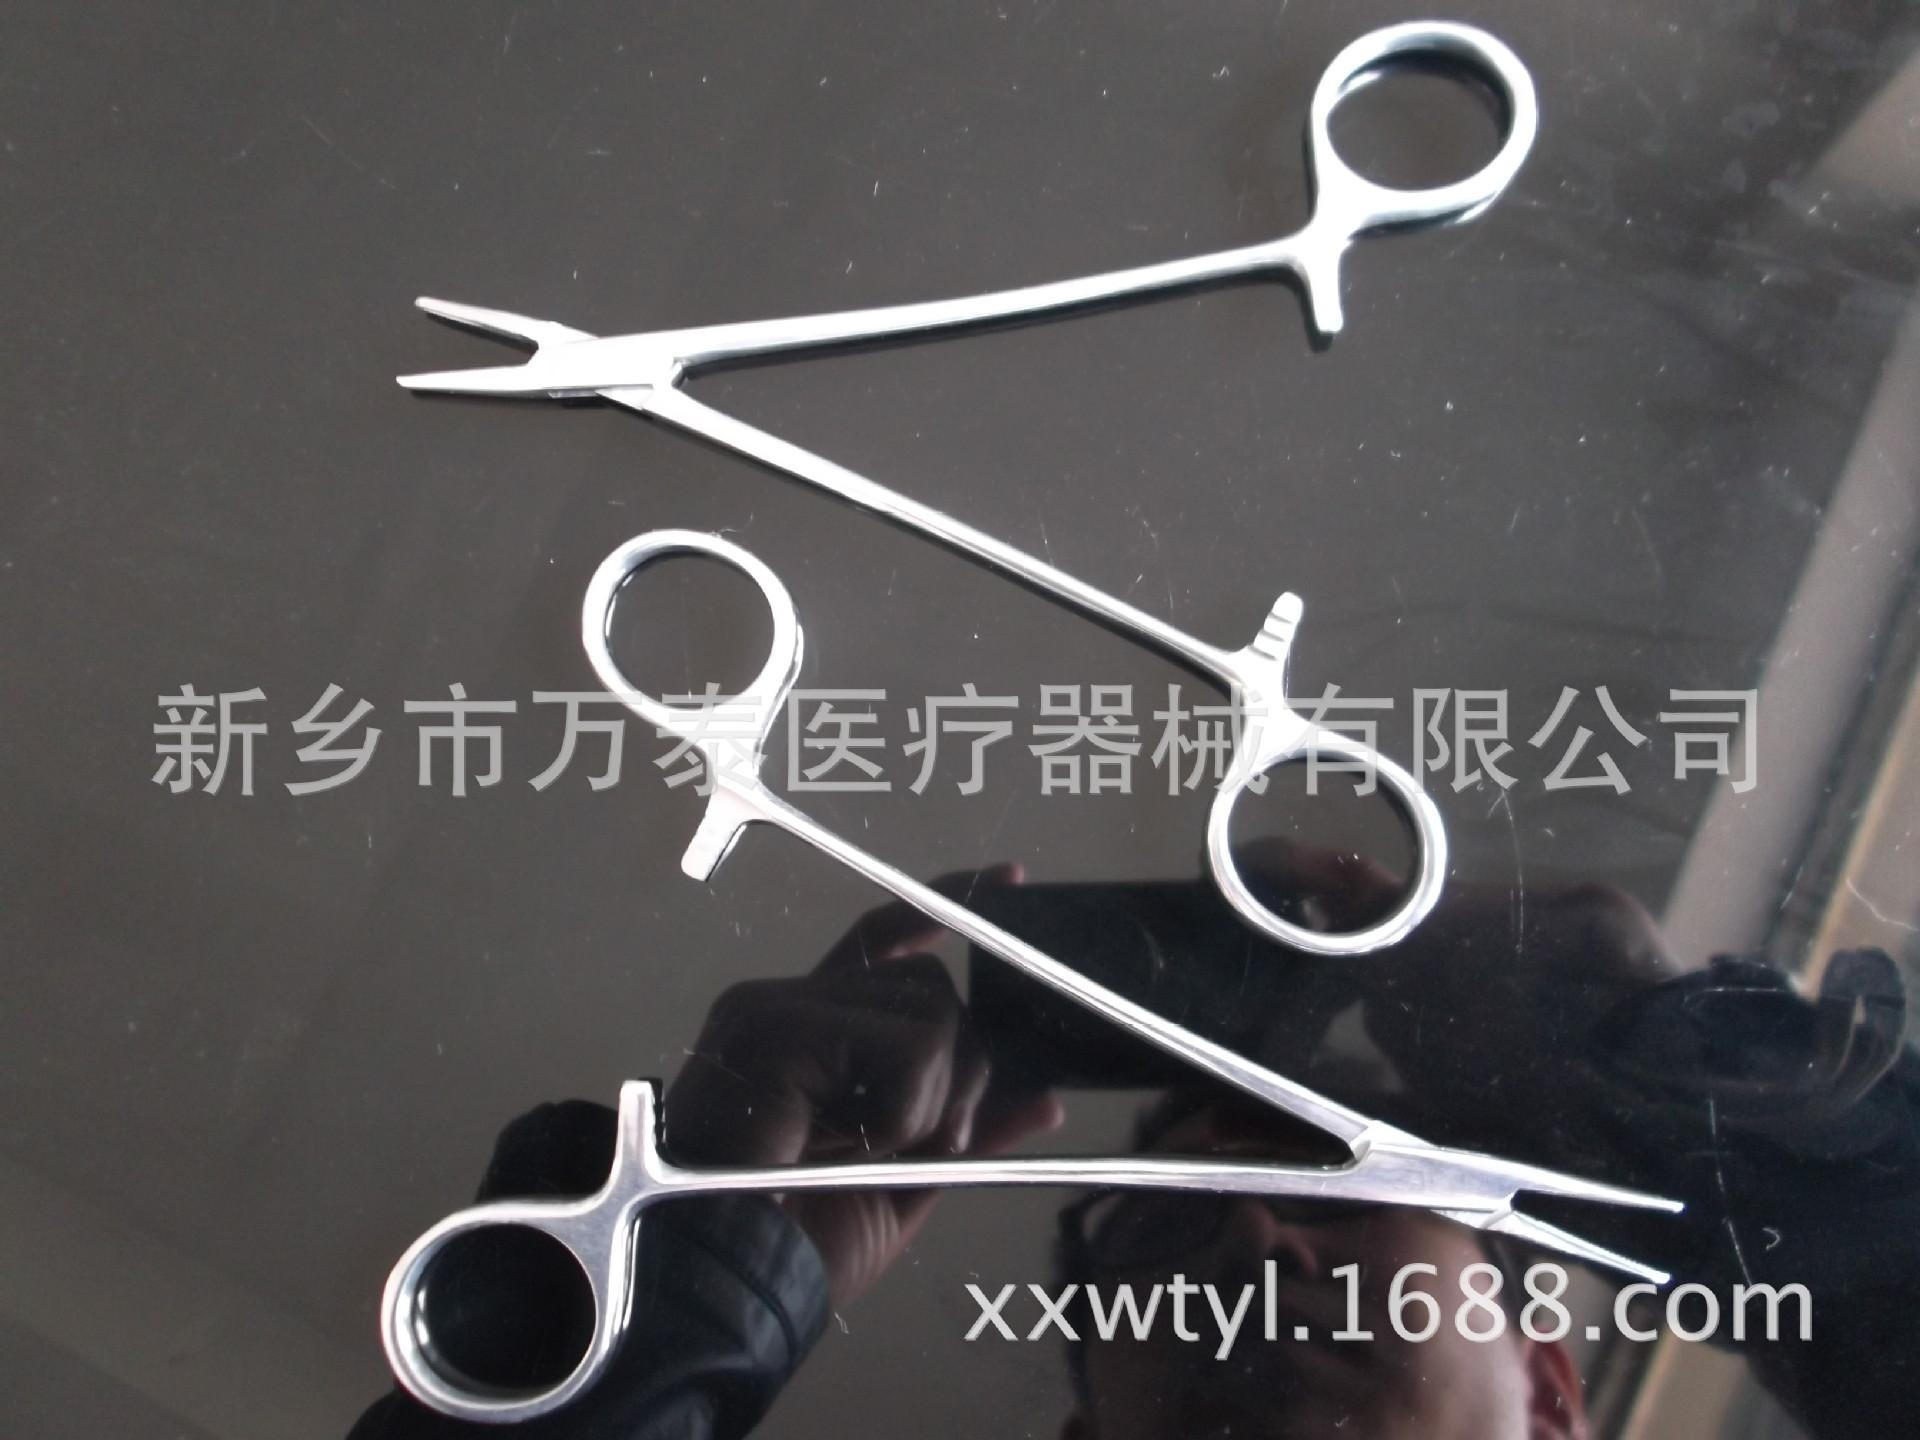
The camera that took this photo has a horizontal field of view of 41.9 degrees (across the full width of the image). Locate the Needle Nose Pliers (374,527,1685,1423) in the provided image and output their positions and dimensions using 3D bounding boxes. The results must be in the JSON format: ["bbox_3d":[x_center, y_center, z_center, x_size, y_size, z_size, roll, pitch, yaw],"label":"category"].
[{"bbox_3d":[-0.002,0.149,1.985,0.948,0.680,0.061,-8,-6,2],"label":"Needle Nose Pliers"}]

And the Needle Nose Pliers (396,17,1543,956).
[{"bbox_3d":[0.049,-0.265,2.047,0.894,0.767,0.495,10,25,19],"label":"Needle Nose Pliers"}]
